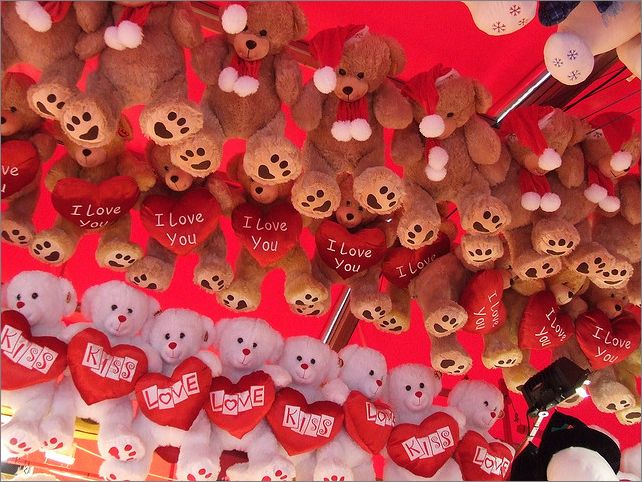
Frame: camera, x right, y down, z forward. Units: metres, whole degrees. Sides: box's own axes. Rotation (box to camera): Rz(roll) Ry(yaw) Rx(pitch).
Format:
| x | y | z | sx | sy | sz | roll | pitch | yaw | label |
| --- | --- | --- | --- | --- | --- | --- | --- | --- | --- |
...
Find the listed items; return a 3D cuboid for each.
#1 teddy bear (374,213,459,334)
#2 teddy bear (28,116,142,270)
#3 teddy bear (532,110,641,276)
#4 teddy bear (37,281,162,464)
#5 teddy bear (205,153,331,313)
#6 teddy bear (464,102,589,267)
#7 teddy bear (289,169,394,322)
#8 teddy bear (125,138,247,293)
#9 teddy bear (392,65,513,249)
| x | y | z | sx | sy | sz | roll | pitch | yaw | label |
| --- | --- | --- | --- | --- | --- | --- | --- | --- | --- |
| 0.757 | 0.189 | 4.209 | 0.705 | 0.820 | 0.279 | -5 | -52 | 37 | teddy bear |
| -1.295 | -0.319 | 3.784 | 0.575 | 0.622 | 0.824 | -1 | -43 | -22 | teddy bear |
| 1.566 | -0.280 | 3.923 | 0.545 | 1.048 | 0.512 | 27 | -13 | -35 | teddy bear |
| -1.202 | 0.721 | 3.633 | 0.581 | 0.749 | 0.929 | 14 | -89 | -18 | teddy bear |
| -0.327 | -0.088 | 4.048 | 0.694 | 0.630 | 1.053 | -7 | -66 | -10 | teddy bear |
| 1.205 | -0.319 | 3.870 | 0.712 | 1.221 | 0.595 | -1 | -9 | -9 | teddy bear |
| 0.133 | 0.016 | 3.978 | 0.594 | 0.544 | 0.906 | 6 | -56 | -6 | teddy bear |
| -0.810 | -0.165 | 3.767 | 0.593 | 0.603 | 0.867 | -12 | -42 | -20 | teddy bear |
| 0.745 | -0.467 | 3.839 | 0.671 | 0.729 | 1.021 | -5 | -54 | -2 | teddy bear |
